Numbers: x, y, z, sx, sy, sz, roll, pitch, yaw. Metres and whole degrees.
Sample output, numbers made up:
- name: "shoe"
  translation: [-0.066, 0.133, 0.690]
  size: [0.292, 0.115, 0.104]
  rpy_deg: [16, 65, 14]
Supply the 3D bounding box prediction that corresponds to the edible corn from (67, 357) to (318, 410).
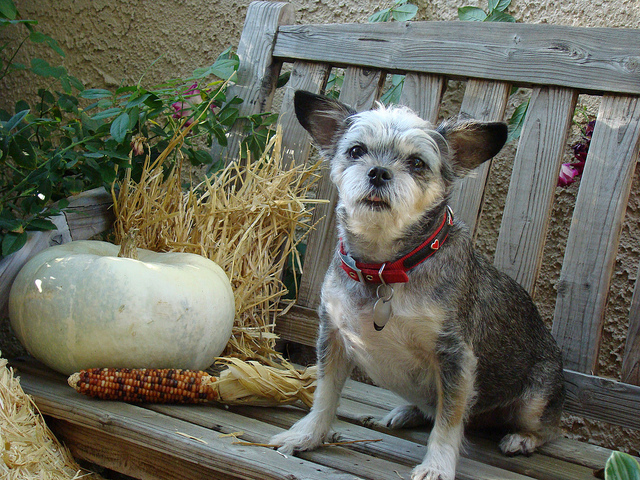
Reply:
- name: "edible corn"
  translation: [-0.329, 0.487, 1.889]
  size: [0.957, 0.171, 0.256]
  rpy_deg: [4, 28, -9]
